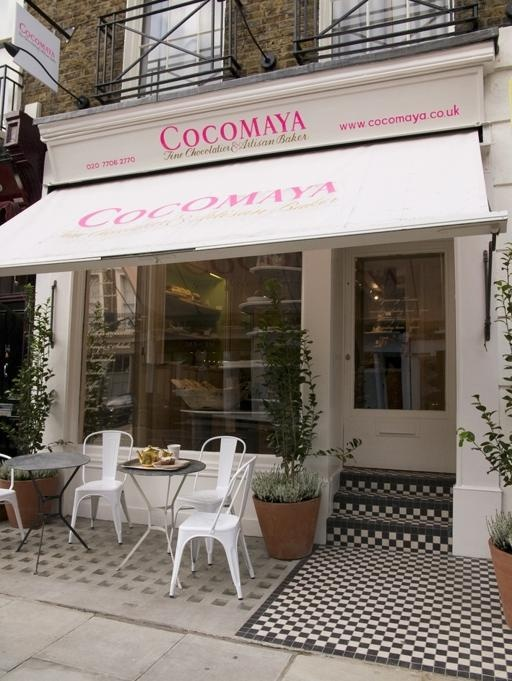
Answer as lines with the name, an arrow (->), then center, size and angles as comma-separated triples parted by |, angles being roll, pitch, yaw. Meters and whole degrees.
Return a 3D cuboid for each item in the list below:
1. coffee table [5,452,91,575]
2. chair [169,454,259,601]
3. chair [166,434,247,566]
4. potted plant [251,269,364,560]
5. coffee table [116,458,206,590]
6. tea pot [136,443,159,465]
coffee table -> -1.904, 1.580, 5.482 | 0.621, 0.741, 0.649 | -5, -27, 5
chair -> -0.322, 1.228, 4.418 | 0.609, 1.017, 0.605 | 2, 23, 8
chair -> -0.260, 1.408, 4.663 | 0.613, 0.908, 0.481 | -5, 6, 4
potted plant -> 0.340, 0.628, 5.404 | 0.745, 2.392, 0.926 | 0, -2, 6
coffee table -> -0.798, 1.470, 5.260 | 0.890, 0.987, 0.853 | -2, -3, 21
tea pot -> -0.888, 0.958, 5.006 | 0.179, 0.128, 0.126 | 3, -6, -5
